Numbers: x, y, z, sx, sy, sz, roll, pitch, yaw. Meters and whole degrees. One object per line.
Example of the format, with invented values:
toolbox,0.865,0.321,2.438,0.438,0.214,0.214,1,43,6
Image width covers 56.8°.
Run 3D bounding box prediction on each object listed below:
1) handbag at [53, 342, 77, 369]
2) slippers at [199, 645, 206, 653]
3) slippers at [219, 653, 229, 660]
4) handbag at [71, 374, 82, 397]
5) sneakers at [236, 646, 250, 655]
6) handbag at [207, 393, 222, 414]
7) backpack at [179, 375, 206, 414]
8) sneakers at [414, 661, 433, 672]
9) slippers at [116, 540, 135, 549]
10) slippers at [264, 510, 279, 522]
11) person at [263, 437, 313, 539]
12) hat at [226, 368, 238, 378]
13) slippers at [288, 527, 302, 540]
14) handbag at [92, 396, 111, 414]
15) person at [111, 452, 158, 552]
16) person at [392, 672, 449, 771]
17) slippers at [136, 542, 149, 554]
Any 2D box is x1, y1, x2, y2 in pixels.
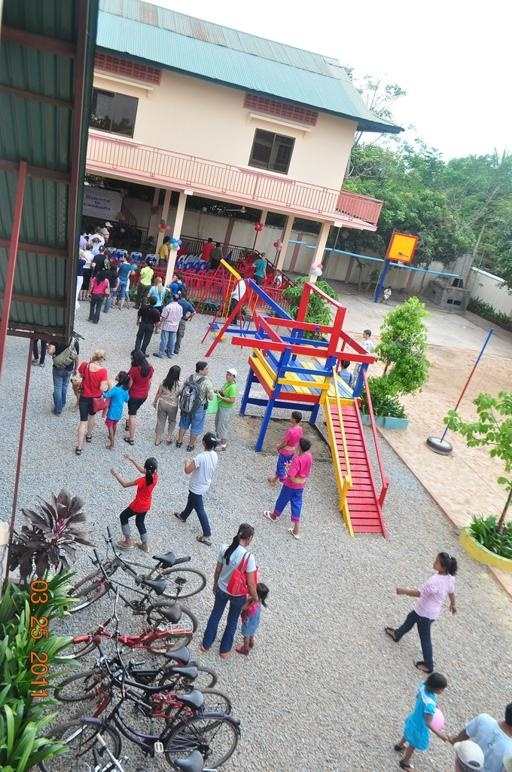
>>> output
handbag,-3.435,-0.526,8.578,0.406,0.537,0.508,7,18,-25
slippers,-0.558,2.803,5.019,0.070,0.080,0.089,0,-3,6
slippers,-0.330,2.871,5.057,0.056,0.074,0.108,3,-1,23
handbag,-3.097,-0.006,8.221,0.125,0.422,0.219,3,6,37
sneakers,-0.142,2.904,5.212,0.133,0.060,0.069,18,26,14
handbag,-0.831,0.384,9.341,0.173,0.421,0.392,18,17,9
backpack,-1.128,0.191,8.572,0.487,0.671,0.387,16,21,19
sneakers,2.018,3.399,5.698,0.185,0.068,0.094,38,63,21
slippers,-1.685,2.074,6.158,0.215,0.105,0.092,15,21,11
slippers,0.252,2.168,7.860,0.124,0.066,0.218,-15,42,-44
person,0.641,1.546,7.737,0.624,1.612,0.744,17,17,5
hat,-0.439,-0.245,9.160,0.162,0.131,0.227,10,-26,33
slippers,0.629,2.364,7.650,0.115,0.091,0.223,0,11,-7
handbag,-2.601,0.314,7.995,0.106,0.270,0.277,23,19,40
person,-1.549,1.458,5.934,0.553,1.206,0.413,10,9,1
person,1.578,3.284,4.564,0.402,1.256,0.525,-3,46,-12
slippers,-1.482,2.145,6.221,0.058,0.108,0.158,-12,47,-40
